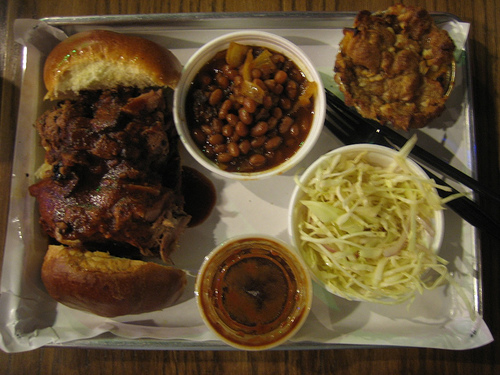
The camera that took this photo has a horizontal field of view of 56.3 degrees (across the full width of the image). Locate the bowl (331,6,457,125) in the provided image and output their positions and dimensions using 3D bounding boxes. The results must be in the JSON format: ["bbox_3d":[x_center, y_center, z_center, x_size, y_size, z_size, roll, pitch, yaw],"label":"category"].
[{"bbox_3d":[1.022,-0.857,3.394,0.858,0.429,0.833,0,79,1],"label":"bowl"}]
